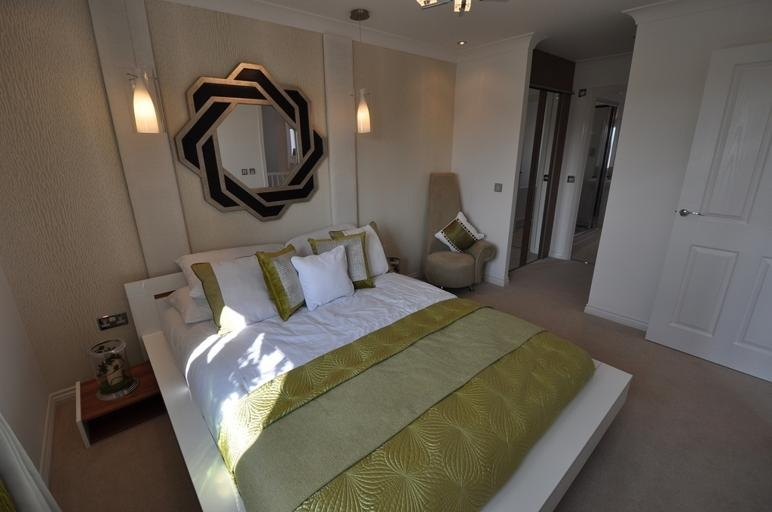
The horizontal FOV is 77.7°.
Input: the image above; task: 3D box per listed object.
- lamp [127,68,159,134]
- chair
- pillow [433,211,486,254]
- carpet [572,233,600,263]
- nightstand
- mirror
[{"bbox_3d":[-1.913,-1.212,3.821,0.259,0.458,0.257,-15,23,-36],"label":"lamp"},{"bbox_3d":[0.874,-0.297,5.905,1.033,1.455,0.825,-10,21,-21],"label":"chair"},{"bbox_3d":[0.858,-0.269,5.919,0.485,0.486,0.147,-47,0,-8],"label":"pillow"},{"bbox_3d":[3.035,-0.169,7.437,0.353,0.101,1.708,5,17,23],"label":"carpet"},{"bbox_3d":[-2.223,1.165,3.975,0.771,0.346,0.532,-16,28,-37],"label":"nightstand"},{"bbox_3d":[-1.329,-1.118,4.540,1.384,1.451,0.031,-13,20,-31],"label":"mirror"}]
